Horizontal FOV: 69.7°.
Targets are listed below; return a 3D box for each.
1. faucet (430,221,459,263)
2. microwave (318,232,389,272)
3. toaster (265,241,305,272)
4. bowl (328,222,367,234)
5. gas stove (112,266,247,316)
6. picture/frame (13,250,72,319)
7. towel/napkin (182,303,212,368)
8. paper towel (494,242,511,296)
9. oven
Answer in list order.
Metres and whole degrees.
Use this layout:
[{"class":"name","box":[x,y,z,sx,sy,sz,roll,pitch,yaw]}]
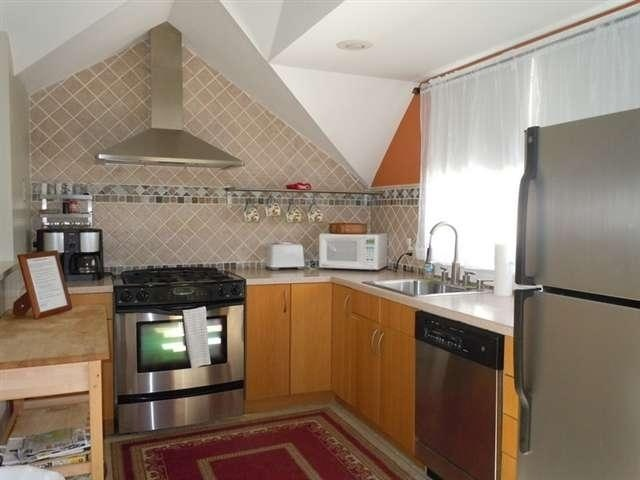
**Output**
[{"class":"faucet","box":[0.904,0.014,3.350,0.214,0.302,0.492,2,7,17]},{"class":"microwave","box":[0.276,0.103,4.009,0.569,0.299,0.156,-1,7,-4]},{"class":"toaster","box":[-0.313,0.147,4.013,0.251,0.191,0.249,-1,3,-23]},{"class":"bowl","box":[0.240,-0.108,4.240,0.328,0.087,0.422,0,7,-1]},{"class":"gas stove","box":[-1.153,0.369,3.492,0.525,0.168,0.456,0,0,-26]},{"class":"picture/frame","box":[-1.567,0.255,2.600,0.279,0.365,0.206,15,5,-28]},{"class":"towel/napkin","box":[-0.914,0.697,3.342,0.124,0.417,0.178,0,8,-38]},{"class":"paper towel","box":[1.155,0.185,2.888,0.097,0.336,0.148,5,9,36]},{"class":"oven","box":[-1.100,0.931,3.677,0.926,0.869,0.687,-1,3,-19]}]
